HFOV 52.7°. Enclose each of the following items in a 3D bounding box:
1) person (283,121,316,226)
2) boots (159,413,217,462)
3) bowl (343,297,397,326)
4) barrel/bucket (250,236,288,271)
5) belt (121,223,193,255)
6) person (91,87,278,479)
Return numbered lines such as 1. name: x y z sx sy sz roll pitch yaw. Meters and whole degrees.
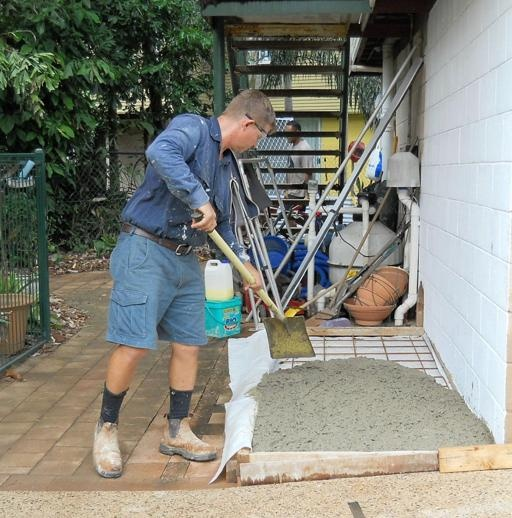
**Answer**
1. person: 0.565 -1.246 7.080 0.444 1.504 1.994 -7 7 7
2. boots: -0.330 0.864 2.526 0.326 0.192 0.129 4 5 19
3. bowl: 1.008 0.431 4.731 0.452 0.254 0.398 -1 10 -14
4. barrel/bucket: 0.185 -0.077 5.458 0.382 0.357 0.146 9 6 2
5. belt: -0.435 -0.100 2.374 0.292 0.155 0.229 16 7 9
6. person: -0.302 0.112 2.368 0.641 1.656 0.793 7 2 41
